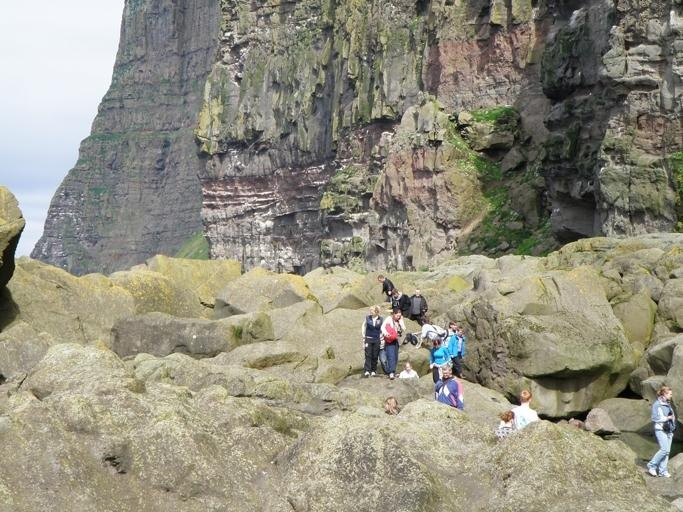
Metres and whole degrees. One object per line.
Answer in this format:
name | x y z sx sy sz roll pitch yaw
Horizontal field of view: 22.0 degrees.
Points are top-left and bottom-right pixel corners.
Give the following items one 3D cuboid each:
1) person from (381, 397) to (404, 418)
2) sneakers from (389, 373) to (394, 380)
person | 2.886 8.866 101.843 0.896 1.054 0.843 -5 -10 36
sneakers | 3.000 7.401 106.497 0.229 0.191 0.458 -2 2 0
